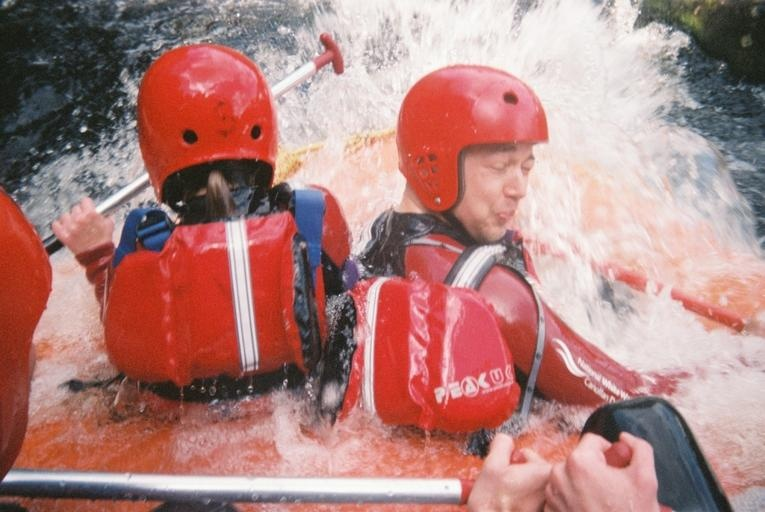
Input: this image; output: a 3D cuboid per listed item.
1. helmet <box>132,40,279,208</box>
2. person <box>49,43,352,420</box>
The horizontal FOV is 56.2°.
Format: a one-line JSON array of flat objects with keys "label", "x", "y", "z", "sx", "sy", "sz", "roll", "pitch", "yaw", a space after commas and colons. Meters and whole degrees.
[{"label": "helmet", "x": -0.727, "y": -0.602, "z": 3.075, "sx": 0.455, "sy": 0.616, "sz": 0.582, "roll": -13, "pitch": 29, "yaw": -33}, {"label": "person", "x": -0.713, "y": -0.115, "z": 2.946, "sx": 1.156, "sy": 1.320, "sz": 0.738, "roll": -3, "pitch": 25, "yaw": -4}]
